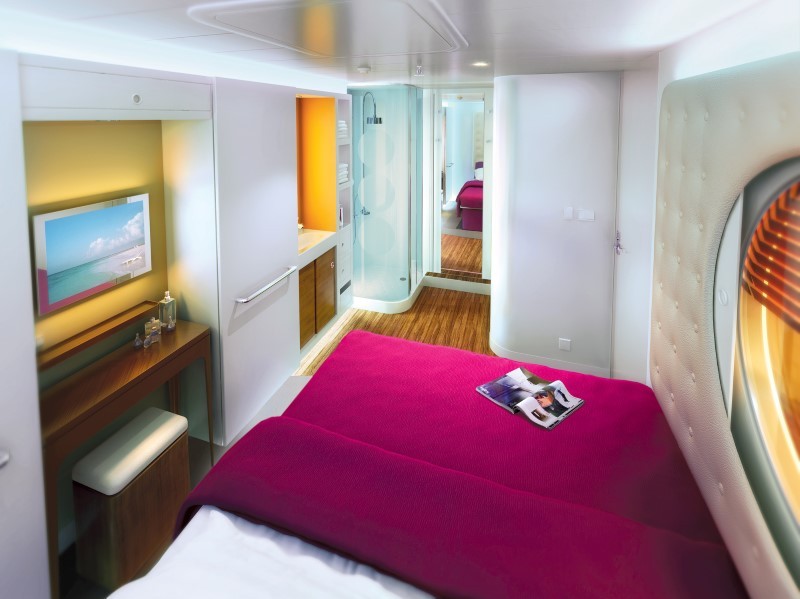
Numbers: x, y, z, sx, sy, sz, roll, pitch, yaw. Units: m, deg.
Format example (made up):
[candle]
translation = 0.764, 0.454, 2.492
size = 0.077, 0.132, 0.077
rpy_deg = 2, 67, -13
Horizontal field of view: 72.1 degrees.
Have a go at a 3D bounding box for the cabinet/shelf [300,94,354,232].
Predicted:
[cabinet/shelf]
translation = -0.686, -1.271, 5.096
size = 0.433, 1.193, 0.490
rpy_deg = 4, 18, 6

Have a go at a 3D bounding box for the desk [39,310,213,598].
[desk]
translation = -1.399, 0.782, 2.746
size = 0.406, 0.945, 1.155
rpy_deg = 4, 16, 10

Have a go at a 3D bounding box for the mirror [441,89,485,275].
[mirror]
translation = 0.801, -1.599, 6.710
size = 0.557, 1.734, 1.211
rpy_deg = 5, 19, 7
